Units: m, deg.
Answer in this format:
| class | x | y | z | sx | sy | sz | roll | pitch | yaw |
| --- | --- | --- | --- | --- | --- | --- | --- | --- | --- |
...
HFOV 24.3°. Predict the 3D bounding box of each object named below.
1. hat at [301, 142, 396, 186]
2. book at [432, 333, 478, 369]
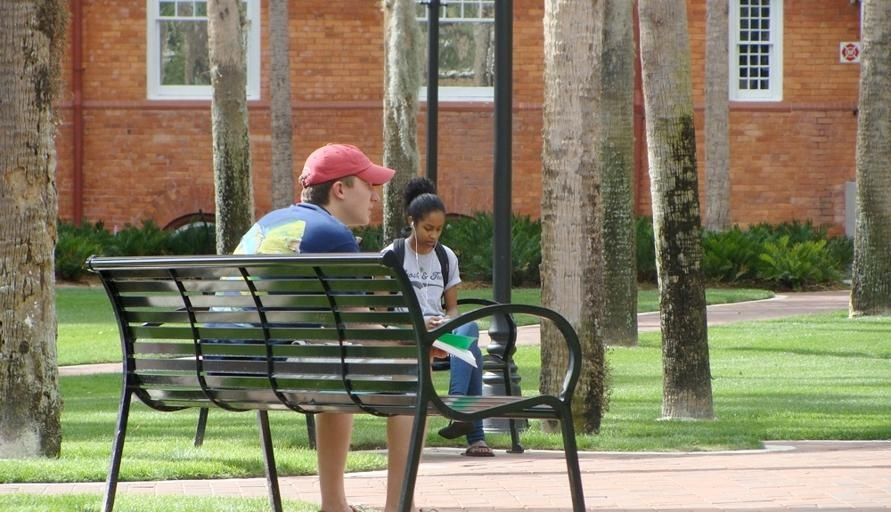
| class | x | y | z | sx | sy | sz | roll | pitch | yaw |
| --- | --- | --- | --- | --- | --- | --- | --- | --- | --- |
| hat | -1.770 | -1.597 | 35.806 | 1.328 | 0.463 | 0.787 | -2 | 5 | -9 |
| book | 0.134 | 1.558 | 35.329 | 0.699 | 0.276 | 0.677 | 22 | -10 | -10 |
